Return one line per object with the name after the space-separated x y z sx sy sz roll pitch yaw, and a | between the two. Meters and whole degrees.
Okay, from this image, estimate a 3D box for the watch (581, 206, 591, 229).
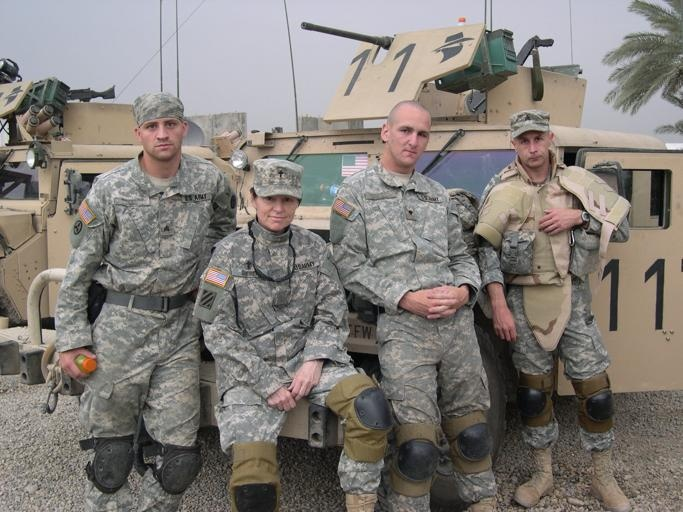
1.558 -0.233 4.117 0.057 0.119 0.056 9 14 28 | watch

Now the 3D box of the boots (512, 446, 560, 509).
1.304 1.471 4.318 0.419 0.445 0.194 4 -3 -45 | boots

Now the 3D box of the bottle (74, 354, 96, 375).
-1.436 0.607 3.623 0.107 0.123 0.064 8 13 22 | bottle

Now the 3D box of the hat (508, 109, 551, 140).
1.224 -0.847 4.207 0.352 0.180 0.506 -6 11 20 | hat
